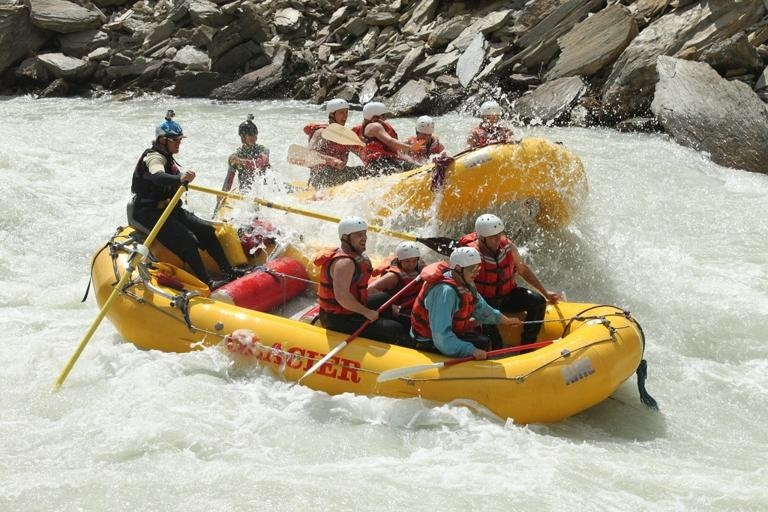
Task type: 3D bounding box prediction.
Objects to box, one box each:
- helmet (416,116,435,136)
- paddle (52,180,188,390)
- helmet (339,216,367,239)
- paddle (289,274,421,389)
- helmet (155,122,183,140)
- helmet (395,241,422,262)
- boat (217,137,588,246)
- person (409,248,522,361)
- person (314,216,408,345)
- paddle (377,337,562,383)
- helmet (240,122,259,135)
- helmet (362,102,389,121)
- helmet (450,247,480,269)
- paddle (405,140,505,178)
[{"bbox_3d":[0.598,-1.896,12.097,0.240,0.284,0.221,3,77,-7],"label":"helmet"},{"bbox_3d":[-3.192,0.436,10.011,0.327,0.208,3.633,-7,37,48],"label":"paddle"},{"bbox_3d":[-0.331,-0.327,9.219,0.294,0.203,0.205,-22,0,22],"label":"helmet"},{"bbox_3d":[-0.266,0.873,9.124,1.979,0.141,0.106,-36,79,-17],"label":"paddle"},{"bbox_3d":[-2.667,-1.553,10.198,0.298,0.320,0.312,-3,38,-16],"label":"helmet"},{"bbox_3d":[0.261,-0.049,9.419,0.202,0.201,0.268,-17,4,-32],"label":"helmet"},{"bbox_3d":[0.678,-0.765,11.199,3.731,0.656,1.932,-6,11,20],"label":"boat"},{"bbox_3d":[0.866,0.528,9.142,1.105,1.202,1.095,17,17,40],"label":"person"},{"bbox_3d":[-0.270,0.420,9.432,1.223,1.567,0.892,3,14,-13],"label":"person"},{"bbox_3d":[0.870,1.137,8.867,2.103,0.101,0.214,-8,39,-5],"label":"paddle"},{"bbox_3d":[-1.950,-1.831,11.747,0.197,0.196,0.228,11,40,12],"label":"helmet"},{"bbox_3d":[-0.130,-2.168,12.318,0.349,0.238,0.239,-14,24,6],"label":"helmet"},{"bbox_3d":[0.877,0.023,8.878,0.319,0.228,0.199,11,37,3],"label":"helmet"},{"bbox_3d":[1.062,-1.346,10.762,0.953,0.143,0.515,-20,-1,-18],"label":"paddle"}]
